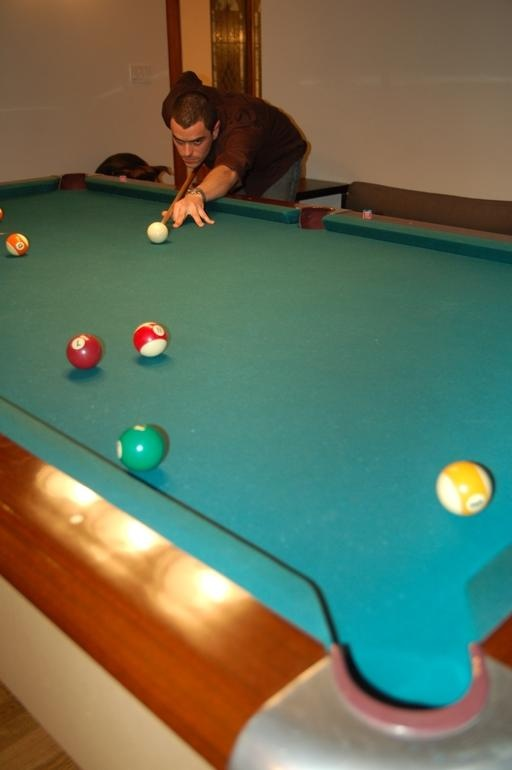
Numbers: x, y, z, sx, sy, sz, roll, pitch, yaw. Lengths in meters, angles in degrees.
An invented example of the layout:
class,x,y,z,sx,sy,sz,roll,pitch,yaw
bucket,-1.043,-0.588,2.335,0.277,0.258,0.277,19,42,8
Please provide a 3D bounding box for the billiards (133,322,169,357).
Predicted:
class,x,y,z,sx,sy,sz,roll,pitch,yaw
billiards,-0.276,-0.114,1.557,0.088,0.101,0.089,-4,19,10

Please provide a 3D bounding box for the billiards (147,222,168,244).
class,x,y,z,sx,sy,sz,roll,pitch,yaw
billiards,-0.442,-0.677,2.586,0.083,0.094,0.082,-33,60,-33

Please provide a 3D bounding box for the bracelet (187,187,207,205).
class,x,y,z,sx,sy,sz,roll,pitch,yaw
bracelet,-0.292,-0.943,2.857,0.081,0.090,0.046,7,-23,1

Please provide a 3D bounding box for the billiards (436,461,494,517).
class,x,y,z,sx,sy,sz,roll,pitch,yaw
billiards,0.354,0.177,0.958,0.101,0.085,0.085,0,7,6
